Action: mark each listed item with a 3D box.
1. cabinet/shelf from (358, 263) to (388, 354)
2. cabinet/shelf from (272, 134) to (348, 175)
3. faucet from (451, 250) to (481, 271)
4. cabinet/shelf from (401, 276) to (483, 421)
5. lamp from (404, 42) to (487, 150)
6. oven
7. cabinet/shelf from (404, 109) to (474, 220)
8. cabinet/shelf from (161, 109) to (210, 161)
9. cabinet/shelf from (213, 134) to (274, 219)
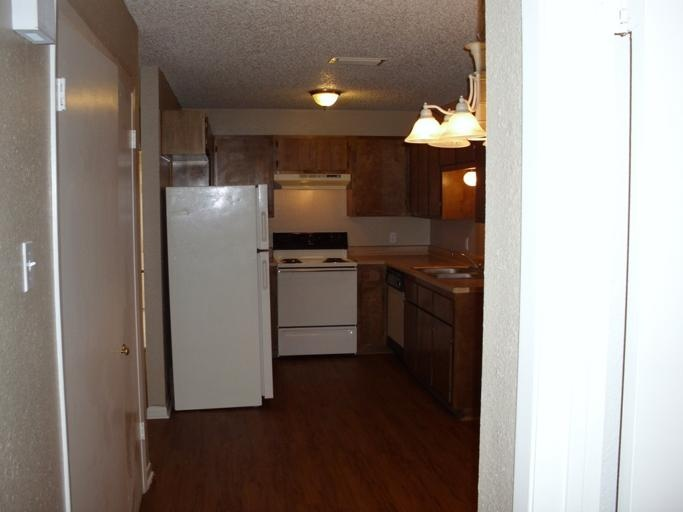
[{"bbox_3d":[0.265,0.433,5.151,0.276,0.727,0.102,-3,9,2],"label":"cabinet/shelf"},{"bbox_3d":[-0.280,-0.928,5.284,0.640,0.339,0.096,-4,9,-1],"label":"cabinet/shelf"},{"bbox_3d":[1.024,0.026,4.797,0.129,0.194,0.474,-6,9,-7],"label":"faucet"},{"bbox_3d":[0.678,0.617,3.802,0.320,0.738,0.852,0,2,-4],"label":"cabinet/shelf"},{"bbox_3d":[0.518,-0.757,2.650,0.368,0.480,0.457,-3,8,-39],"label":"lamp"},{"bbox_3d":[-0.221,0.584,5.303,0.734,0.986,0.693,-4,-33,2],"label":"oven"},{"bbox_3d":[0.955,-0.730,4.849,0.329,0.867,0.946,-5,4,-25],"label":"cabinet/shelf"},{"bbox_3d":[-1.114,-0.872,4.049,0.314,0.300,0.111,-8,10,-22],"label":"cabinet/shelf"},{"bbox_3d":[-0.899,-0.616,5.345,0.569,0.519,0.791,8,33,-4],"label":"cabinet/shelf"}]
